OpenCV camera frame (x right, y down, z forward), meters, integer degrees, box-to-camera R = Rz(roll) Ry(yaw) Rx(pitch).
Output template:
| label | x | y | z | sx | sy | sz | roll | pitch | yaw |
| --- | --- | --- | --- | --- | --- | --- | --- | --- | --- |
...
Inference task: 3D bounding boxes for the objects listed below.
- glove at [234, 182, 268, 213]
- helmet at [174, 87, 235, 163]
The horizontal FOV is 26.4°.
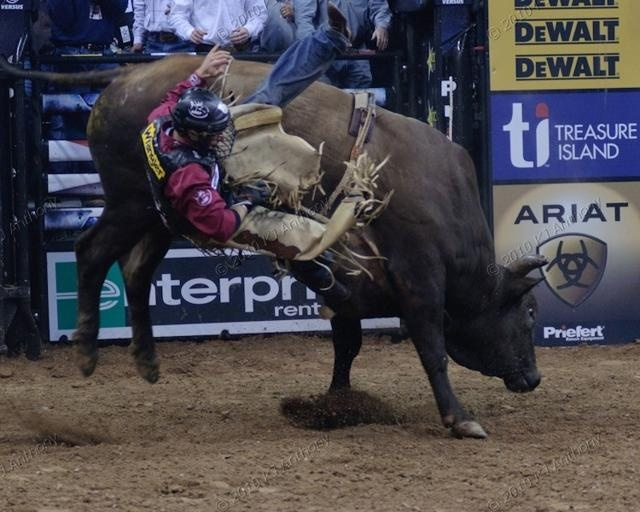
| label | x | y | z | sx | sy | sz | roll | pitch | yaw |
| --- | --- | --- | --- | --- | --- | --- | --- | --- | --- |
| glove | -0.554 | -0.520 | 11.691 | 0.298 | 0.211 | 0.132 | 4 | 5 | -31 |
| helmet | -0.966 | -1.152 | 11.505 | 0.593 | 0.536 | 0.442 | 8 | 40 | -24 |
